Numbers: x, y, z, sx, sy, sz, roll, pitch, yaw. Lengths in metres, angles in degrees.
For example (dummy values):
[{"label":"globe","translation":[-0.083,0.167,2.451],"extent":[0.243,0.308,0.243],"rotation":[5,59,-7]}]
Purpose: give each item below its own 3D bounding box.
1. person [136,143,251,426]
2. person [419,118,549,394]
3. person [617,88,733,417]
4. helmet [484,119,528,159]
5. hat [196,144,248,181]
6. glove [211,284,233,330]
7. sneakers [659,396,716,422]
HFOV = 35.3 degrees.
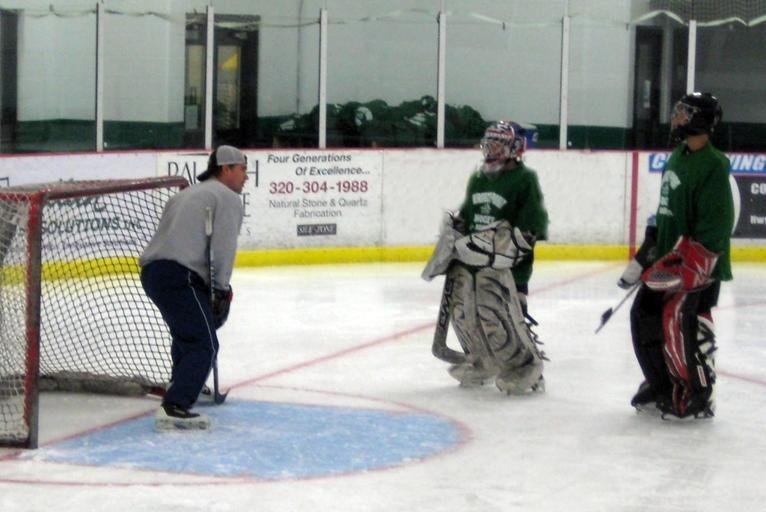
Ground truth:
[{"label":"person","translation":[-1.356,0.327,8.519],"extent":[0.711,1.685,0.625],"rotation":[0,15,-7]},{"label":"person","translation":[0.840,0.009,9.399],"extent":[1.007,2.081,0.550],"rotation":[6,15,17]},{"label":"person","translation":[2.138,0.000,8.806],"extent":[0.794,2.347,0.653],"rotation":[5,15,14]},{"label":"helmet","translation":[0.907,-0.905,9.420],"extent":[0.356,0.281,0.273],"rotation":[20,6,0]},{"label":"hat","translation":[-1.144,-0.717,8.745],"extent":[0.224,0.159,0.322],"rotation":[-8,-2,13]},{"label":"glove","translation":[-1.171,0.366,8.786],"extent":[0.214,0.262,0.268],"rotation":[5,9,0]},{"label":"sneakers","translation":[2.207,1.116,8.803],"extent":[0.281,0.096,0.209],"rotation":[-3,2,-13]}]
